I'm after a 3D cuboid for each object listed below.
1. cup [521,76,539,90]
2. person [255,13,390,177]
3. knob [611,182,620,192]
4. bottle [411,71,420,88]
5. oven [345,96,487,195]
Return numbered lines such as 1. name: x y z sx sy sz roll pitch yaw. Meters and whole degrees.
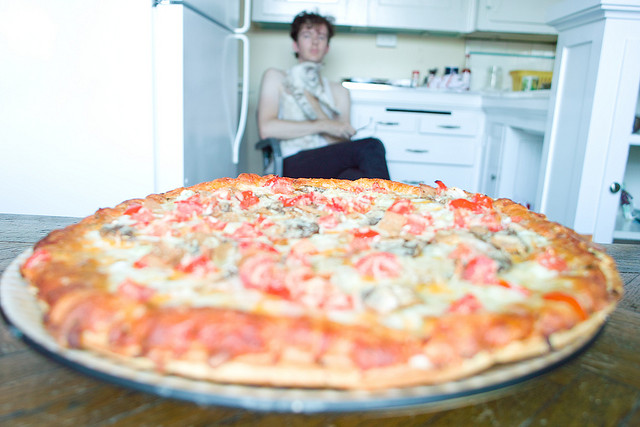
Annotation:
1. cup: 1.436 -0.894 2.855 0.104 0.095 0.155 7 14 24
2. person: -0.048 -0.695 2.293 0.585 0.886 1.058 -1 13 -8
3. knob: 0.956 -0.087 1.353 0.027 0.016 0.023 -36 55 -4
4. bottle: 0.747 -1.054 3.275 0.062 0.135 0.221 4 13 11
5. oven: 0.711 -0.433 3.352 1.127 0.618 1.029 10 48 16
